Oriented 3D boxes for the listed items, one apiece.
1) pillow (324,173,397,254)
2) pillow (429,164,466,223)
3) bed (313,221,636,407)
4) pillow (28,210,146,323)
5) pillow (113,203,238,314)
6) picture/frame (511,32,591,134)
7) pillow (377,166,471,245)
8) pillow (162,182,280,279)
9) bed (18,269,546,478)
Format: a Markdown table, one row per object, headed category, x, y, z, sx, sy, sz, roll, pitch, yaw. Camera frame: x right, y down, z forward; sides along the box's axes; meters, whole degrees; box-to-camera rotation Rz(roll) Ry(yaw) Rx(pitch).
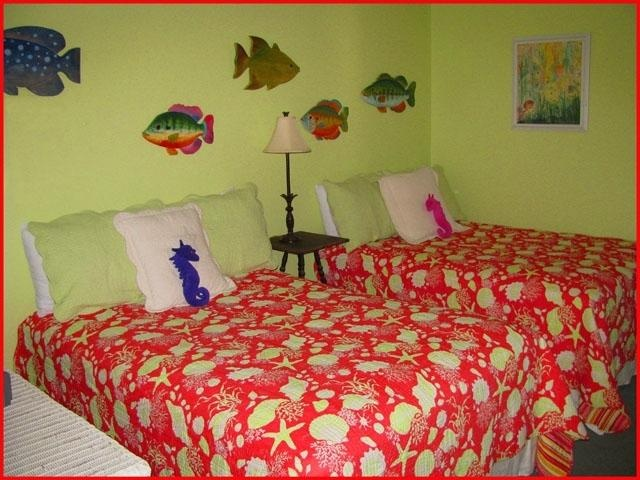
| category | x | y | z | sx | sy | sz | roll | pitch | yaw |
| --- | --- | --- | --- | --- | --- | --- | --- | --- | --- |
| pillow | 0.265 | -0.218 | 3.825 | 0.574 | 0.523 | 0.171 | -15 | -8 | -30 |
| pillow | 1.095 | -0.384 | 4.279 | 0.198 | 0.593 | 0.207 | -24 | -7 | 9 |
| bed | 1.069 | 0.333 | 3.299 | 1.602 | 0.408 | 1.054 | 9 | 19 | 36 |
| pillow | -1.253 | 0.136 | 2.625 | 0.551 | 0.523 | 0.162 | -18 | -5 | -41 |
| pillow | -0.828 | 0.100 | 2.770 | 0.604 | 0.565 | 0.180 | -10 | -11 | -46 |
| picture/frame | 2.030 | -1.382 | 4.321 | 0.924 | 0.992 | 0.066 | 9 | 18 | 41 |
| pillow | 0.720 | -0.250 | 3.826 | 0.652 | 0.575 | 0.173 | -16 | -14 | -39 |
| pillow | -0.598 | -0.062 | 3.141 | 0.167 | 0.529 | 0.575 | -14 | 2 | 38 |
| bed | -0.172 | 0.685 | 2.376 | 1.982 | 0.875 | 1.314 | -5 | 7 | 35 |
